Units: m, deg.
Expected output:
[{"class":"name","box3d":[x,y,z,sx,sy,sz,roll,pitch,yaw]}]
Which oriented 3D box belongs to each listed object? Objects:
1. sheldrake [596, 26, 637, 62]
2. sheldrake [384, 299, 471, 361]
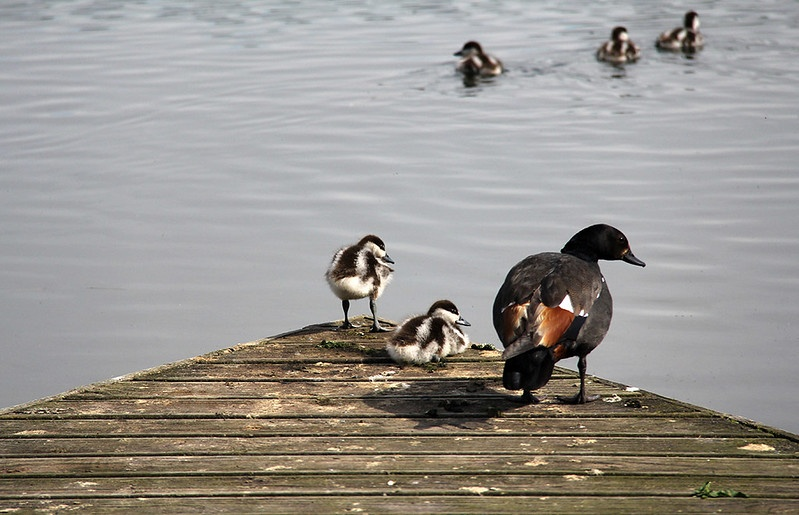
[{"class":"sheldrake","box3d":[5.444,-5.230,33.407,1.041,0.781,1.156,2,26,0]},{"class":"sheldrake","box3d":[0.353,1.177,21.697,1.006,0.786,1.590,21,21,36]}]
